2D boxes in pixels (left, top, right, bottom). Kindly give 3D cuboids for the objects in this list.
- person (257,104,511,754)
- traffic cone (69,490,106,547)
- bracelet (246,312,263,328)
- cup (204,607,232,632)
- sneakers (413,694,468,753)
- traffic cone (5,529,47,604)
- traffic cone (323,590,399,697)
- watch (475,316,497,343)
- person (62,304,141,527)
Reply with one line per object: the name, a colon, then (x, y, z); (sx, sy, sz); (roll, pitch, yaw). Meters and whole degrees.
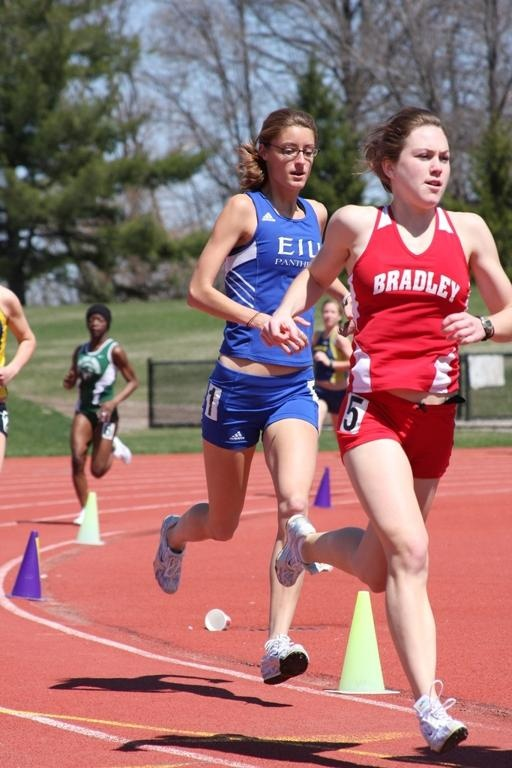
person: (0.451, 0.128, 2.639); (0.541, 1.970, 0.942); (4, -4, -33)
traffic cone: (-1.405, 1.133, 7.363); (0.225, 0.423, 0.327); (2, -4, -11)
bracelet: (-0.009, -0.242, 3.303); (0.017, 0.040, 0.054); (41, 29, -5)
cup: (-0.210, 1.222, 4.493); (0.130, 0.117, 0.099); (8, 9, 42)
sneakers: (0.456, 0.833, 2.149); (0.064, 0.121, 0.181); (-3, -30, -15)
traffic cone: (-1.352, 1.074, 5.189); (0.172, 0.424, 0.402); (3, -4, -27)
traffic cone: (0.475, 1.001, 3.451); (0.399, 0.384, 0.365); (1, -3, 6)
watch: (0.655, -0.159, 2.472); (0.061, 0.078, 0.087); (0, -7, 1)
person: (-1.470, 0.197, 8.056); (0.657, 1.935, 0.693); (2, -4, -7)
